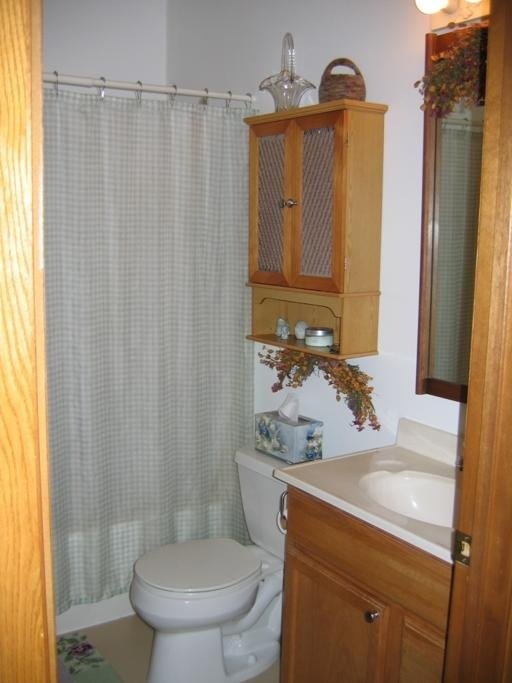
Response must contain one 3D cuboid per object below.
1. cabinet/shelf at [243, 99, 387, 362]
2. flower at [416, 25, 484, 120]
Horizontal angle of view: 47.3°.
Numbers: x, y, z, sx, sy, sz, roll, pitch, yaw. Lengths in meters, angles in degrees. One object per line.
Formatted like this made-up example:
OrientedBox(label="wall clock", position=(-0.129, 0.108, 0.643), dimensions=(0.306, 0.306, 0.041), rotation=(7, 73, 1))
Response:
OrientedBox(label="cabinet/shelf", position=(0.167, -0.380, 1.986), dimensions=(0.202, 0.796, 0.557), rotation=(-7, 12, -40))
OrientedBox(label="flower", position=(0.516, -0.695, 1.536), dimensions=(0.097, 0.174, 0.175), rotation=(12, 58, 47))
